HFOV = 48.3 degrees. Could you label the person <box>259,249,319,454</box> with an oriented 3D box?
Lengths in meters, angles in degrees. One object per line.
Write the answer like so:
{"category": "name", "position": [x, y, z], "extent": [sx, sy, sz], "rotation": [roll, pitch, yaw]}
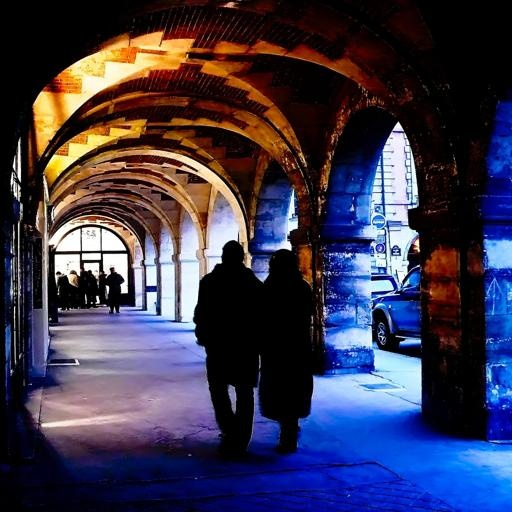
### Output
{"category": "person", "position": [0.235, 0.741, 4.376], "extent": [0.422, 1.579, 0.445], "rotation": [0, -3, -5]}
